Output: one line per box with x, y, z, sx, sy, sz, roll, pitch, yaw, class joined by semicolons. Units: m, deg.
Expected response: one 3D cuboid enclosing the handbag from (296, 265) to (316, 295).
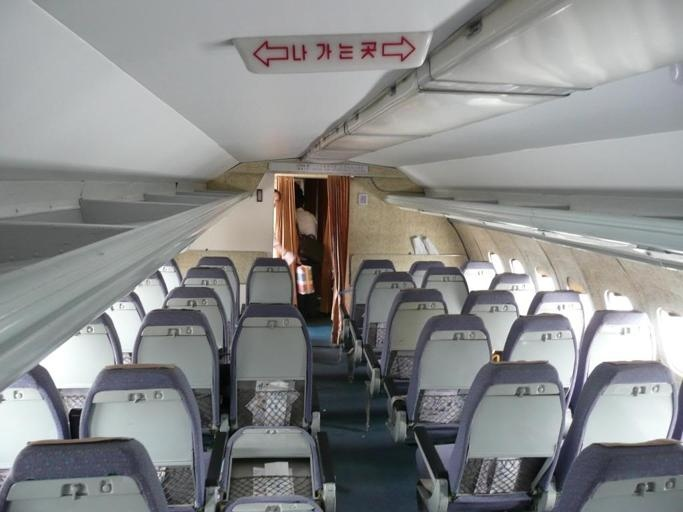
-0.853;0.589;12.077;0.534;1.021;0.725;-3;2;-6;handbag
